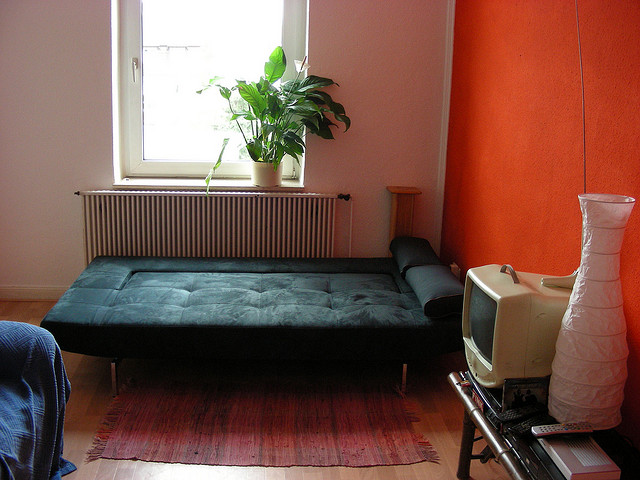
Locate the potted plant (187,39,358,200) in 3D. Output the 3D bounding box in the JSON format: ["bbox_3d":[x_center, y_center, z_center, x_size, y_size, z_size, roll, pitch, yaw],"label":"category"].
[{"bbox_3d":[-0.350,-0.938,3.670,1.153,0.959,1.042,-10,30,-23],"label":"potted plant"}]

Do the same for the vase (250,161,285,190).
[{"bbox_3d":[-0.398,-0.497,3.697,0.216,0.158,0.213,1,11,-16],"label":"vase"}]

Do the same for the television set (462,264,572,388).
[{"bbox_3d":[0.961,0.364,2.179,0.573,0.490,0.419,-6,13,-8],"label":"television set"}]

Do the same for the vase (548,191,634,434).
[{"bbox_3d":[1.071,0.291,1.838,0.261,0.869,0.273,9,21,27],"label":"vase"}]

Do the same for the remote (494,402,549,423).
[{"bbox_3d":[0.821,0.695,1.944,0.199,0.013,0.058,-12,19,-5],"label":"remote"}]
